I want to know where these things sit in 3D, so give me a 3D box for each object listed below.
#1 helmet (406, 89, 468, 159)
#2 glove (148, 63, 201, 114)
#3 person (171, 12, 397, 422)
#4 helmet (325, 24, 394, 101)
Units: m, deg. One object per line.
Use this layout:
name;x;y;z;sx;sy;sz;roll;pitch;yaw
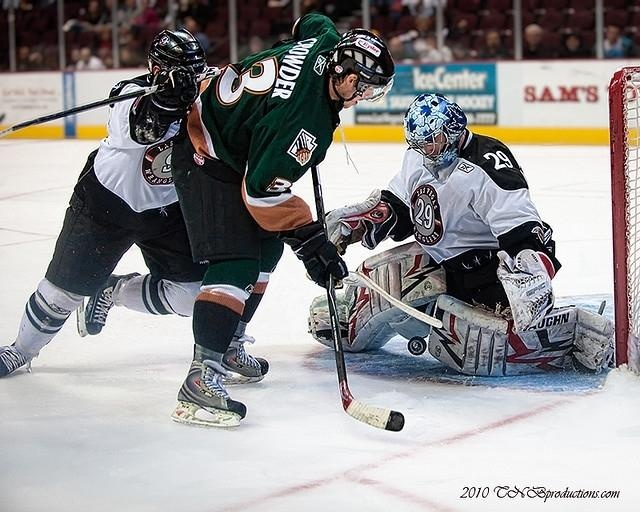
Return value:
helmet;0.414;-0.455;2.749;0.220;0.251;0.210;0;13;9
glove;-0.467;-0.538;2.492;0.137;0.143;0.165;-4;10;-25
person;-0.152;-0.129;2.536;0.776;1.274;0.456;-5;13;-11
helmet;0.127;-0.599;2.415;0.138;0.216;0.201;9;17;42
